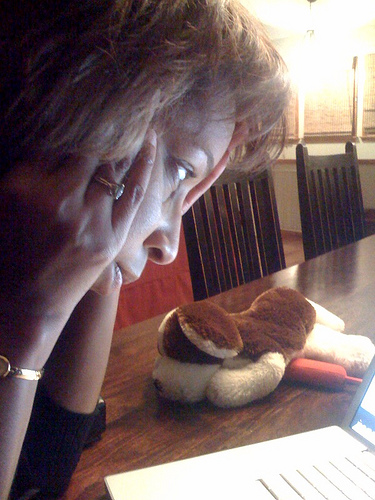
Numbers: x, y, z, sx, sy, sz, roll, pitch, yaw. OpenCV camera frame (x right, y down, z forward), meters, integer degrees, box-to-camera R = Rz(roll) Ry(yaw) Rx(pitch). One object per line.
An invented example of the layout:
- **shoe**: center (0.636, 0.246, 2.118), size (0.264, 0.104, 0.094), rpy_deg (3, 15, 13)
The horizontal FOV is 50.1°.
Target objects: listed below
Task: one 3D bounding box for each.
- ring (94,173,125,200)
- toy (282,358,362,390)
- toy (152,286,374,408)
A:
- **ring**: center (-0.064, -0.047, 0.333), size (0.014, 0.021, 0.013), rpy_deg (-48, 7, 7)
- **toy**: center (0.169, 0.156, 0.500), size (0.063, 0.023, 0.020), rpy_deg (17, 8, 5)
- **toy**: center (0.084, 0.067, 0.495), size (0.185, 0.099, 0.154), rpy_deg (-13, 8, -34)
